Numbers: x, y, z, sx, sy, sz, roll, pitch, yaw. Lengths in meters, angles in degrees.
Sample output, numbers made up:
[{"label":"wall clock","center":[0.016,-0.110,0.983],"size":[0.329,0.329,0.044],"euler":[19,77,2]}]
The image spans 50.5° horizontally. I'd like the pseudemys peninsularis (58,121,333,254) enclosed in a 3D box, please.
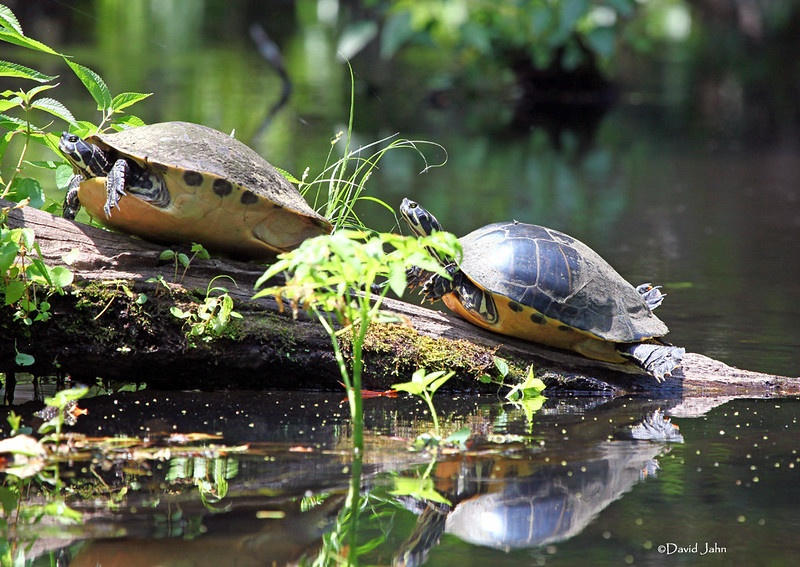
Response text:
[{"label":"pseudemys peninsularis","center":[-1.304,-0.567,5.382],"size":[1.561,0.691,0.584],"euler":[3,40,-13]}]
